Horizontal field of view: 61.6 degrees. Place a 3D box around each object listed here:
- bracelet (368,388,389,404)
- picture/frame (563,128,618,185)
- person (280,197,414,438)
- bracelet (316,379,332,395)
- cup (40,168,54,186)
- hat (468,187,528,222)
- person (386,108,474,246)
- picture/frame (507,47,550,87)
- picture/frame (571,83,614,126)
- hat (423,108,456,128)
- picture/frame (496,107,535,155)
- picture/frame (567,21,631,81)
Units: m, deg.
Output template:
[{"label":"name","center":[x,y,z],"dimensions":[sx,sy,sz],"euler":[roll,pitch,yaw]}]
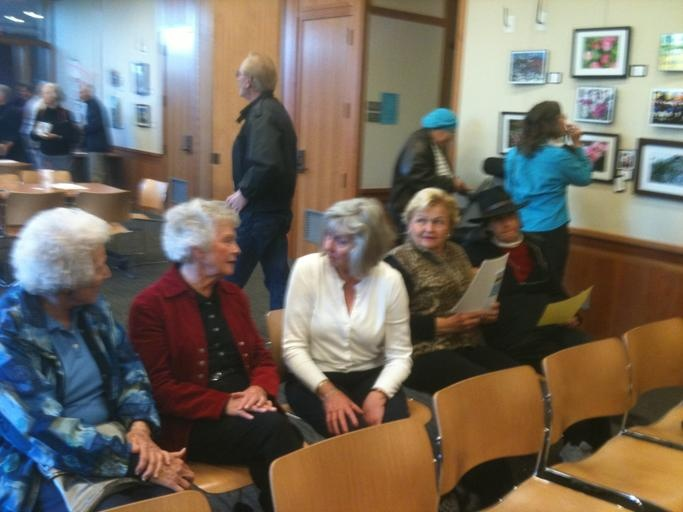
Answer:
[{"label":"bracelet","center":[0.152,0.599,2.403],"dimensions":[0.054,0.032,0.072],"euler":[21,60,30]},{"label":"picture/frame","center":[1.612,-0.660,3.714],"dimensions":[0.368,0.359,0.051],"euler":[3,8,26]},{"label":"person","center":[0.046,0.253,2.510],"dimensions":[0.585,0.962,0.672],"euler":[-8,15,-31]},{"label":"bracelet","center":[-0.071,0.550,2.392],"dimensions":[0.056,0.054,0.055],"euler":[-3,4,1]},{"label":"cup","center":[-1.397,-0.380,2.724],"dimensions":[0.066,0.075,0.067],"euler":[0,6,0]},{"label":"hat","center":[0.937,-0.307,3.451],"dimensions":[0.268,0.103,0.244],"euler":[-23,5,39]},{"label":"person","center":[0.580,-0.459,3.721],"dimensions":[0.486,0.914,0.443],"euler":[10,27,27]},{"label":"picture/frame","center":[1.245,-1.248,3.763],"dimensions":[0.276,0.250,0.048],"euler":[1,2,17]},{"label":"picture/frame","center":[1.653,-0.994,3.728],"dimensions":[0.273,0.265,0.035],"euler":[6,4,16]},{"label":"hat","center":[0.649,-0.879,3.700],"dimensions":[0.159,0.074,0.187],"euler":[6,14,30]},{"label":"picture/frame","center":[1.157,-0.822,3.825],"dimensions":[0.028,0.259,0.267],"euler":[14,23,41]},{"label":"picture/frame","center":[1.678,-1.326,3.676],"dimensions":[0.389,0.328,0.042],"euler":[3,4,18]}]
